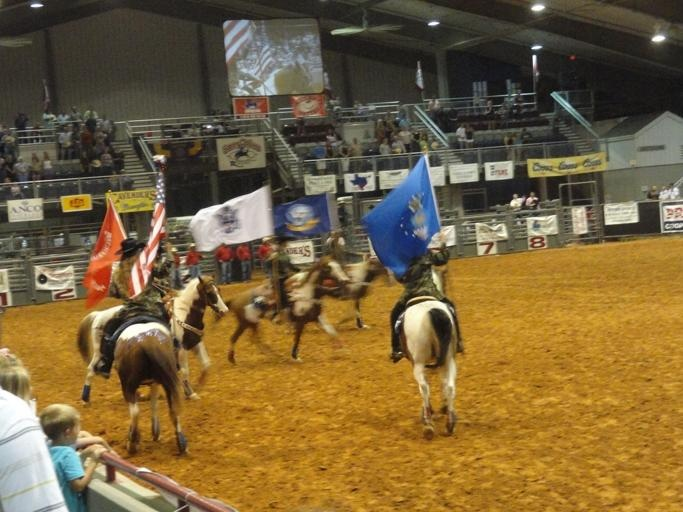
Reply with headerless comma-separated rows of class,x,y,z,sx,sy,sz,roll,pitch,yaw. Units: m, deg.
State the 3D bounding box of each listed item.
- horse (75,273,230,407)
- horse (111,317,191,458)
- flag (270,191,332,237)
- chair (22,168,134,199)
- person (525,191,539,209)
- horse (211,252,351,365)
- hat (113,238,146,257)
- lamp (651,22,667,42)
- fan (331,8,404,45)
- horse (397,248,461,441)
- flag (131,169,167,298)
horse,-4.823,2.291,25.336,5.390,2.800,1.281,-9,-11,32
horse,-4.551,3.092,22.692,1.396,3.053,1.553,-7,6,-13
flag,-1.176,-1.250,29.496,2.829,1.574,0.805,-2,2,-24
chair,-10.667,-2.724,38.656,4.139,0.772,0.688,-6,5,-24
person,8.780,-2.524,44.274,0.666,0.737,0.804,-4,5,10
horse,-1.702,1.591,27.510,5.358,2.715,1.372,-8,-3,38
hat,-5.433,-0.188,24.237,0.635,0.208,0.537,-6,24,42
lamp,15.628,-10.947,46.986,0.665,0.827,1.622,-3,5,28
fan,1.130,-11.470,48.973,3.001,0.871,2.277,-5,4,-9
horse,2.070,2.049,22.676,1.464,4.118,1.382,-7,5,-9
flag,-4.848,-0.593,24.027,0.681,2.962,1.851,-6,5,6
